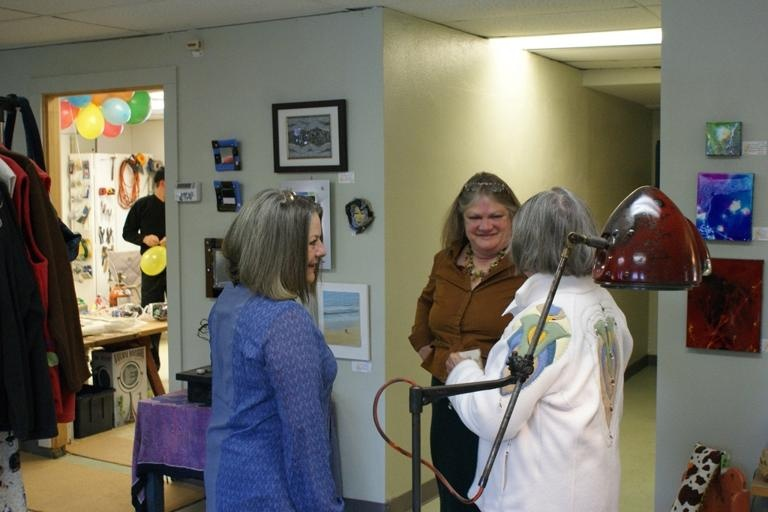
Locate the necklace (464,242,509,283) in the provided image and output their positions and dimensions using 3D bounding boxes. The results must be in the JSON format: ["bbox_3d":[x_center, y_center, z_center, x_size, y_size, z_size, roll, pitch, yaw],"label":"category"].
[{"bbox_3d":[0.468,0.025,3.142,0.140,0.050,0.190,-6,46,19],"label":"necklace"}]

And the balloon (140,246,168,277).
[{"bbox_3d":[-2.293,0.039,6.244,0.221,0.289,0.218,-1,4,-18],"label":"balloon"}]

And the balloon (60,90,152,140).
[{"bbox_3d":[-3.049,-1.550,6.875,0.861,0.471,1.294,-2,4,-29],"label":"balloon"}]
